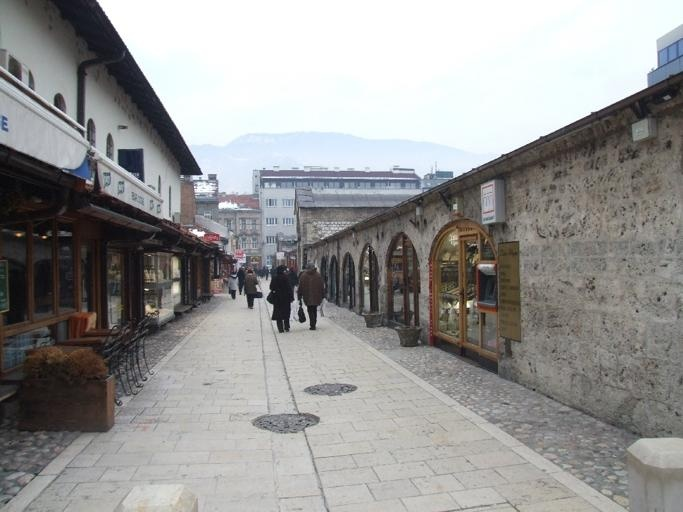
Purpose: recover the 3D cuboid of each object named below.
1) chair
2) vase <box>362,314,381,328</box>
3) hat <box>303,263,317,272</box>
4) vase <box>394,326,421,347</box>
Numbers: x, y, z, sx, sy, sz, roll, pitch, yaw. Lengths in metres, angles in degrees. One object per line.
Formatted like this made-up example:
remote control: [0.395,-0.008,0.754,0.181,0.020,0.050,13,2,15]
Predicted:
chair: [-3.839,1.695,8.845,1.029,1.066,1.634,1,-2,-1]
vase: [0.941,1.915,15.662,0.414,0.289,0.431,-2,-1,26]
hat: [-1.197,0.425,19.981,0.639,0.230,0.641,-7,5,41]
vase: [1.529,1.881,12.324,0.452,0.321,0.457,3,-6,-42]
